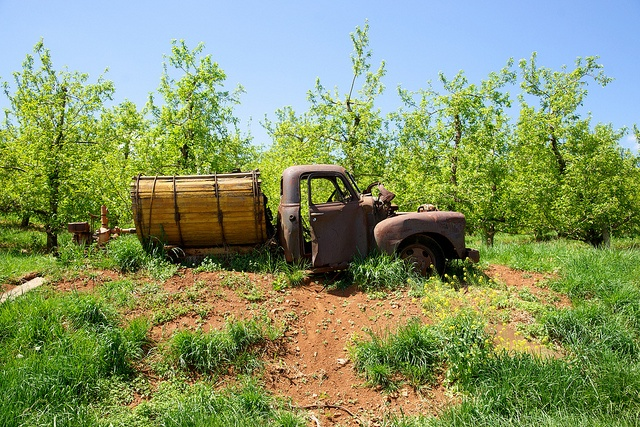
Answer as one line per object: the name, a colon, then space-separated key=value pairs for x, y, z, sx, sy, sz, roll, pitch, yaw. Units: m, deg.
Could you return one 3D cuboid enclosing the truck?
truck: x=-0.537 y=0.150 z=12.355 sx=8.854 sy=3.314 sz=3.521 roll=-1 pitch=0 yaw=0
